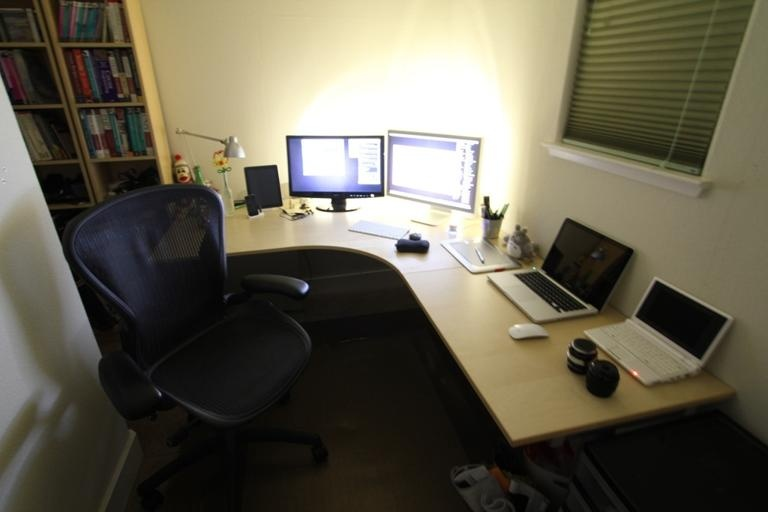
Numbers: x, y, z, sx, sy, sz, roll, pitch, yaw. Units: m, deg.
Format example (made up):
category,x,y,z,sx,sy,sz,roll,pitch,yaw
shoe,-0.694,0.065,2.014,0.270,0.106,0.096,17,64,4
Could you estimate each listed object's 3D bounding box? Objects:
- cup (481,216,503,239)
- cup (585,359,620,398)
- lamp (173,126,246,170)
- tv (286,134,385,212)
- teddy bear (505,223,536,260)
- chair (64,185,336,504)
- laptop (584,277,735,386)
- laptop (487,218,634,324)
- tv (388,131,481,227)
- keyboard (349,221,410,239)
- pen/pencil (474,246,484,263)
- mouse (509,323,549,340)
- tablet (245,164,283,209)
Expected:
category,x,y,z,sx,sy,sz,roll,pitch,yaw
cup,0.635,-0.168,3.112,0.121,0.138,0.121,2,25,-1
cup,0.901,0.503,2.179,0.139,0.135,0.139,-2,24,1
lamp,-1.170,-0.716,3.419,0.434,0.231,0.396,-7,26,-16
tv,-0.335,-0.578,3.440,0.533,0.396,0.156,0,25,-1
teddy bear,0.756,-0.098,2.898,0.192,0.174,0.166,-6,25,-42
chair,-0.958,0.485,2.626,0.895,1.381,0.993,29,41,27
laptop,1.189,0.318,2.252,0.411,0.334,0.369,-10,26,-20
laptop,0.891,0.157,2.646,0.564,0.405,0.525,-10,36,-16
tv,0.328,-0.503,3.286,0.593,0.421,0.061,16,27,28
keyboard,-0.024,-0.166,3.228,0.236,0.009,0.140,15,31,27
pen/pencil,0.542,-0.003,2.929,0.022,0.014,0.126,-26,32,3
mouse,0.673,0.338,2.370,0.151,0.040,0.076,-4,32,-8
tablet,-0.825,-0.469,3.475,0.224,0.293,0.020,-8,-4,-11
